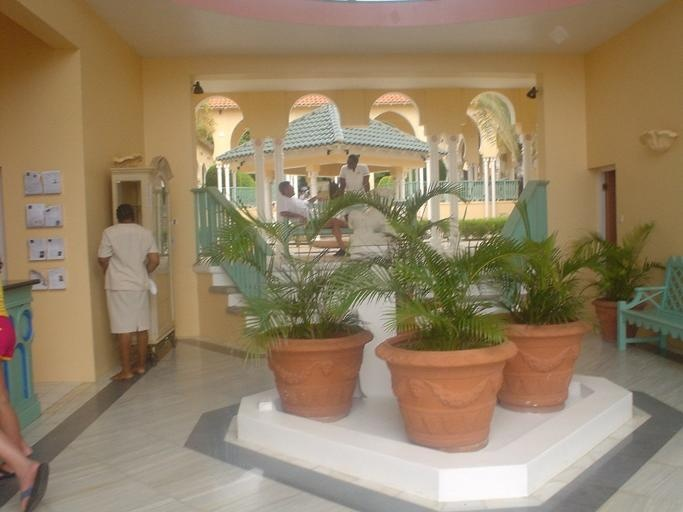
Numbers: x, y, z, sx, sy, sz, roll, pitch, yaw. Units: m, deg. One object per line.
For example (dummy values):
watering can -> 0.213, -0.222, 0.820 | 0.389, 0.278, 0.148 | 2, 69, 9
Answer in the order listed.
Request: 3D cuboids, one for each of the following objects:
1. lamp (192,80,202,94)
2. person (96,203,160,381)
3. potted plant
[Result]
lamp -> -2.228, -2.625, 8.083 | 0.188, 0.207, 0.189 | -7, 13, -31
person -> -2.461, 0.399, 6.070 | 0.640, 1.998, 0.404 | -4, 5, -29
potted plant -> 0.149, 0.402, 4.392 | 1.912, 1.964, 2.446 | -5, 6, -34
